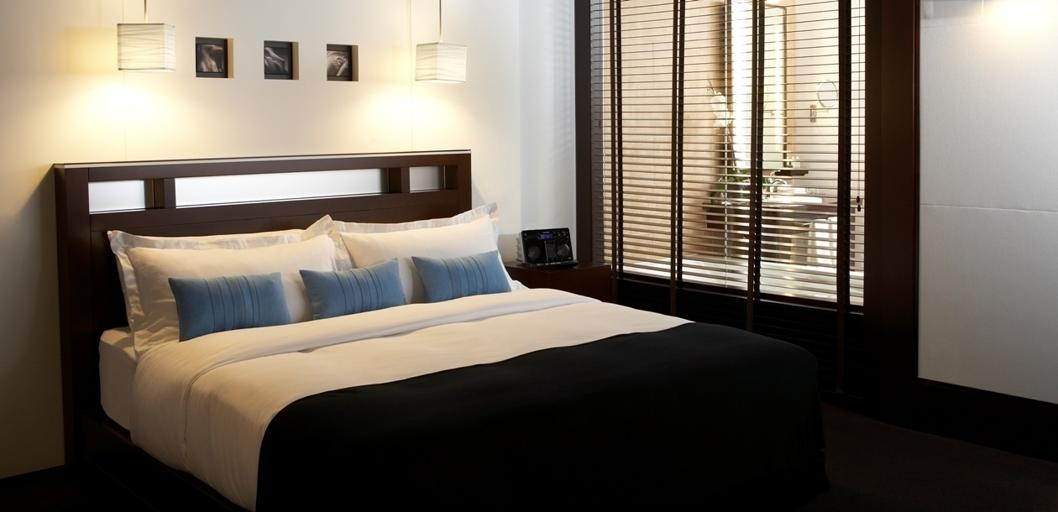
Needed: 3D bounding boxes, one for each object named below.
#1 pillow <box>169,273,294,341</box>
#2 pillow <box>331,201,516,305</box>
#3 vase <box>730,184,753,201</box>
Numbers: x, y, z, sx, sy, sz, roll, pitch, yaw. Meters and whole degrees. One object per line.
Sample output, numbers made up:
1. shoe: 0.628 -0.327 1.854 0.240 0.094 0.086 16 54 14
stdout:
1. pillow: -2.370 0.408 5.197 0.596 0.309 0.150 -4 -16 -30
2. pillow: -1.027 -0.015 6.047 1.156 0.643 0.263 -3 -33 -29
3. vase: 2.083 -0.618 6.560 0.186 0.151 0.178 -1 3 -36
